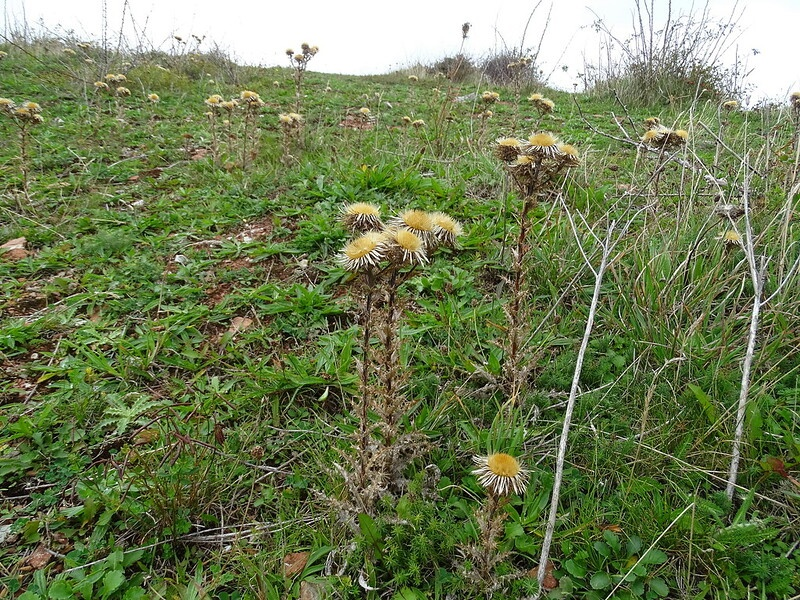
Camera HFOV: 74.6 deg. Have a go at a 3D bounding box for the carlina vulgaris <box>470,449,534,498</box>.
[{"bbox_3d":[0.467,0.778,2.422,0.260,0.093,0.264,-3,25,-19],"label":"carlina vulgaris"}]

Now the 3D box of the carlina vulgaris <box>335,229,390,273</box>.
[{"bbox_3d":[-0.184,-0.237,2.577,0.256,0.176,0.214,0,26,-2],"label":"carlina vulgaris"}]

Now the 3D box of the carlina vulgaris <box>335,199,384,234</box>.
[{"bbox_3d":[-0.194,-0.437,2.787,0.183,0.098,0.178,-1,29,2],"label":"carlina vulgaris"}]

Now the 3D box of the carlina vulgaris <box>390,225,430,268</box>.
[{"bbox_3d":[0.041,-0.260,2.559,0.202,0.159,0.182,7,27,11],"label":"carlina vulgaris"}]

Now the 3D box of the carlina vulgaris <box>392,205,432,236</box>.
[{"bbox_3d":[0.066,-0.402,2.670,0.152,0.064,0.148,6,12,-12],"label":"carlina vulgaris"}]

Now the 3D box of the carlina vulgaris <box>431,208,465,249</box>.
[{"bbox_3d":[0.244,-0.387,2.784,0.203,0.092,0.200,19,14,-10],"label":"carlina vulgaris"}]

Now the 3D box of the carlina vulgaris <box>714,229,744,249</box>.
[{"bbox_3d":[2.097,-0.381,3.358,0.151,0.049,0.146,-5,17,-2],"label":"carlina vulgaris"}]
